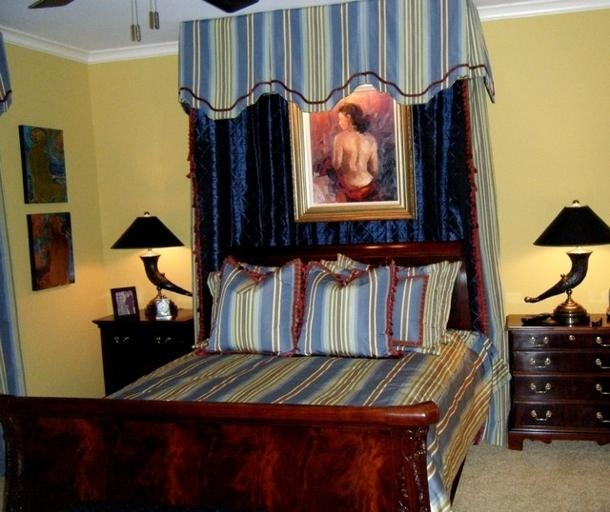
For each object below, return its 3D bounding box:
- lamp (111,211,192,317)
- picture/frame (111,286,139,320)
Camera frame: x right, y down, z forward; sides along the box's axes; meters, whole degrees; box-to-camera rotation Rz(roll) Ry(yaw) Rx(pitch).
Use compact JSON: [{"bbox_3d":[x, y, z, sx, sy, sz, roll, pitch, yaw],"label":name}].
[{"bbox_3d":[-1.145,0.054,4.756,0.461,0.807,0.502,-2,10,1],"label":"lamp"},{"bbox_3d":[-1.361,0.346,4.806,0.174,0.264,0.028,-6,24,-13],"label":"picture/frame"}]
